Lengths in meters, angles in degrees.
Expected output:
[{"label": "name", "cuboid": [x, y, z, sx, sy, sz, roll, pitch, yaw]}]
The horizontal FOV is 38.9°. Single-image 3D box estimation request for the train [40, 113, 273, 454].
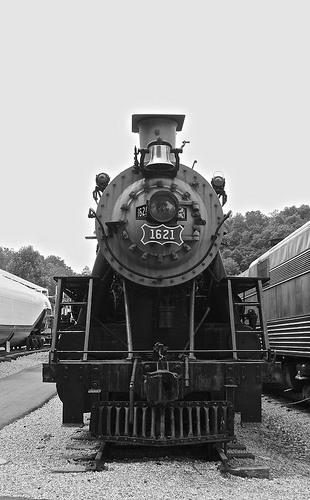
[{"label": "train", "cuboid": [0.059, -0.015, 5.611, 2.485, 4.662, 2.070, -1, -10, 7]}]
